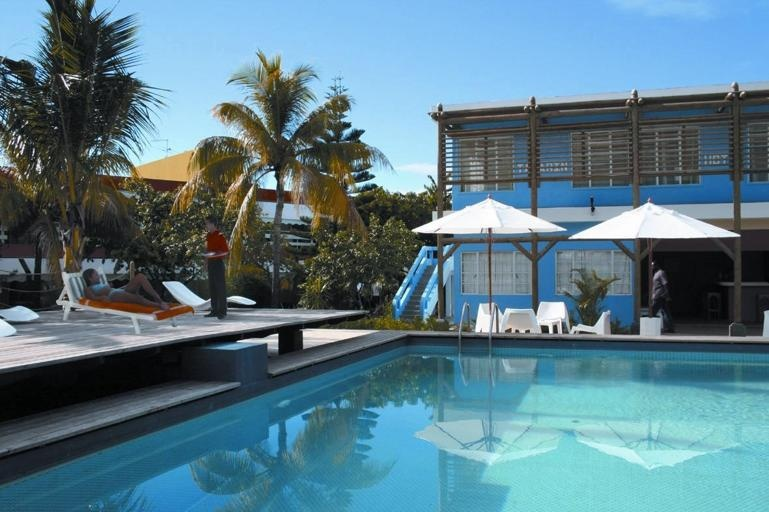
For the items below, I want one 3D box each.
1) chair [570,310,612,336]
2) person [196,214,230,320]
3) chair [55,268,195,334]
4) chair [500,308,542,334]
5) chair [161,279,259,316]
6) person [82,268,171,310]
[{"bbox_3d":[5.613,1.825,17.342,1.046,0.761,0.745,0,-5,25],"label":"chair"},{"bbox_3d":[-3.788,0.262,14.250,0.471,2.365,1.375,-2,6,-15],"label":"person"},{"bbox_3d":[-5.522,0.977,12.869,2.831,1.250,1.349,3,2,23],"label":"chair"},{"bbox_3d":[3.689,1.793,17.328,0.758,0.556,0.825,-1,-1,9],"label":"chair"},{"bbox_3d":[-4.559,1.051,16.089,1.994,0.850,1.283,-2,-6,4],"label":"chair"},{"bbox_3d":[-6.450,0.825,15.992,2.612,1.250,1.178,1,-4,15],"label":"person"}]
